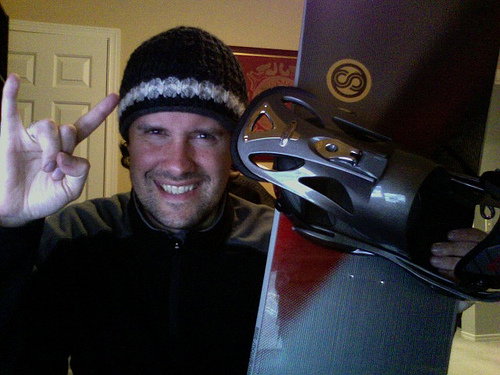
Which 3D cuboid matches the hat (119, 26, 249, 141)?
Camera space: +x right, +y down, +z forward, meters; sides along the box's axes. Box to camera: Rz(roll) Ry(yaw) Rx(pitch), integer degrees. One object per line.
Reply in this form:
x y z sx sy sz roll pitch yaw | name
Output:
-0.189 -0.255 1.281 0.298 0.265 0.289 7 -11 -38 | hat
